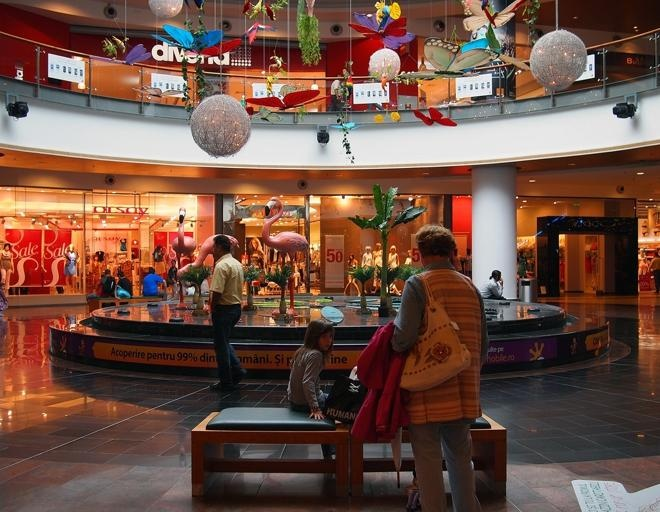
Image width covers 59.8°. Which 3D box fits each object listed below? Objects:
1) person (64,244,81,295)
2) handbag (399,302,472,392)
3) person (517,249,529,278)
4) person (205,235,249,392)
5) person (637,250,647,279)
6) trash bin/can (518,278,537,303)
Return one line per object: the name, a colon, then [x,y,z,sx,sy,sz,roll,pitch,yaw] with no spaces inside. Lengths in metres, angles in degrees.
person: [-7.215,0.376,15.991,0.345,1.347,0.244,-1,3,-25]
handbag: [0.650,0.587,3.624,0.449,0.513,0.210,-14,-12,26]
person: [6.304,0.250,18.714,0.305,0.842,0.724,1,3,21]
person: [-1.221,0.700,6.762,0.360,1.867,0.576,0,3,-5]
person: [12.394,0.321,22.596,0.324,1.042,0.501,1,3,31]
trash bin/can: [5.180,0.907,14.992,0.378,0.594,0.504,1,3,29]
